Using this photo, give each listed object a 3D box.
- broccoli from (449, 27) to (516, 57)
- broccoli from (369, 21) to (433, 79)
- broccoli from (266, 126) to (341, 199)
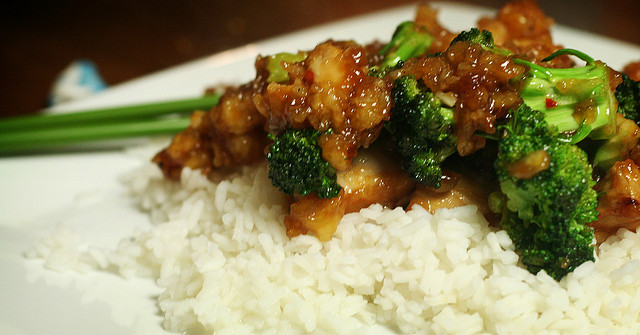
[{"bbox_3d":[1.315,-1.042,4.557,0.535,0.376,0.284,0,-3,3],"label":"broccoli"},{"bbox_3d":[0.748,-1.102,4.945,0.465,0.656,0.746,2,3,5],"label":"broccoli"},{"bbox_3d":[-0.148,-0.042,4.555,0.535,0.542,0.140,-9,3,-2],"label":"broccoli"}]
